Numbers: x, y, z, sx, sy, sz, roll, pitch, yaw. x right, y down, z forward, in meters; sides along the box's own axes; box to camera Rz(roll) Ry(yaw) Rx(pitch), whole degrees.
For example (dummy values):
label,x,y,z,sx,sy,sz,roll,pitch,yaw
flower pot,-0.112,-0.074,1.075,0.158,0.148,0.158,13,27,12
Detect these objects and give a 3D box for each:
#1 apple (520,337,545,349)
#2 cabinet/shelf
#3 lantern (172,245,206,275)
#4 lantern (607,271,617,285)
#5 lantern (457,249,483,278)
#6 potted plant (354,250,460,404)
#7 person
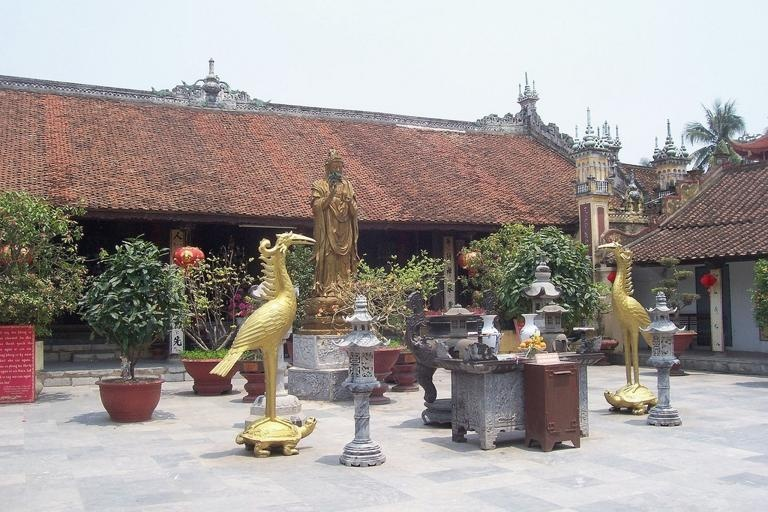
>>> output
label,x,y,z,sx,sy,sz,roll,pitch,yaw
apple,2.230,1.310,11.731,0.244,0.103,0.245,-4,-5,40
cabinet/shelf,2.405,2.151,11.191,0.773,1.249,0.356,-2,-8,8
lantern,-4.238,0.091,17.320,0.740,0.620,0.754,0,-2,41
lantern,5.816,0.493,19.930,0.180,0.342,1.073,-3,-7,13
lantern,2.221,0.177,19.927,0.418,0.669,0.623,0,-7,-8
potted plant,0.432,1.355,14.398,2.621,3.246,2.441,-1,-16,0
person,-0.927,-0.615,14.795,0.860,2.698,0.889,0,-8,-5
